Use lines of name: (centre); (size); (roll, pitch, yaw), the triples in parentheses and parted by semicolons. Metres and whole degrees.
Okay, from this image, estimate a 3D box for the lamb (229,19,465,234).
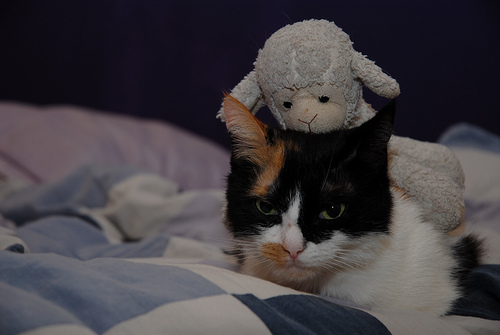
lamb: (0.368, -0.113, 1.943); (0.714, 1.044, 0.414); (-2, 42, 38)
